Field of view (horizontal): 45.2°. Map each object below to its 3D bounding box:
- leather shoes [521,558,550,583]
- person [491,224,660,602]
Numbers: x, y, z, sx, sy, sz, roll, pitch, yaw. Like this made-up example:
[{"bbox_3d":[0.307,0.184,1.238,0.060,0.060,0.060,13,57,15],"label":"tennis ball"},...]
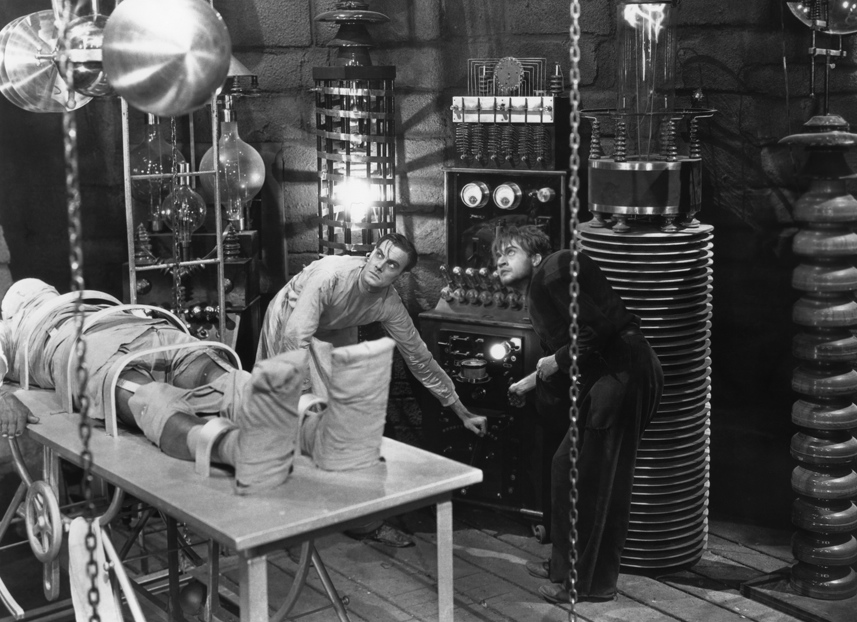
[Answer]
[{"bbox_3d":[0.640,1.523,6.044,0.139,0.041,0.098,2,11,12],"label":"leather shoes"},{"bbox_3d":[0.798,0.612,5.807,0.613,1.944,0.878,-10,10,-27],"label":"person"}]
